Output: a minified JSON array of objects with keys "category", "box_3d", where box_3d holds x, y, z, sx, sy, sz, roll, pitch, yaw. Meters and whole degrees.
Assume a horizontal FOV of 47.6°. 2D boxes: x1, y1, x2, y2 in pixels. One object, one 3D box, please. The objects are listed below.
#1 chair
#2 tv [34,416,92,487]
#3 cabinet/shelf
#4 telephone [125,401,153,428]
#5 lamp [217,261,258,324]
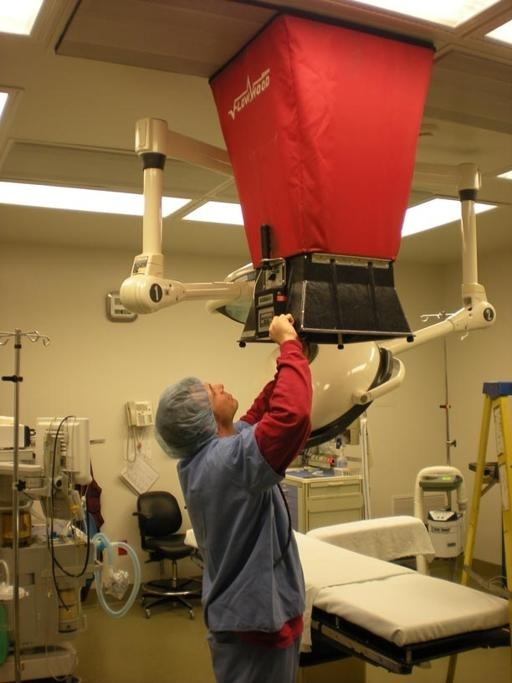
[{"category":"chair","box_3d":[-0.683,1.675,4.715,0.556,0.889,0.582,-9,-10,29]},{"category":"tv","box_3d":[-1.115,0.627,3.186,0.169,0.317,0.230,6,-4,-30]},{"category":"cabinet/shelf","box_3d":[0.636,1.371,4.986,0.593,0.549,0.436,-3,9,-13]},{"category":"telephone","box_3d":[-1.003,0.622,4.942,0.209,0.205,0.103,3,-10,-38]},{"category":"lamp","box_3d":[-0.055,-0.138,1.702,0.170,0.063,0.137,-32,-29,2]}]
